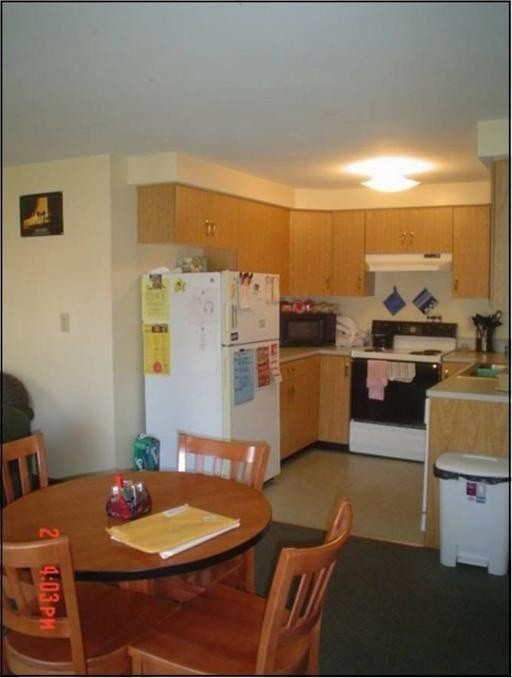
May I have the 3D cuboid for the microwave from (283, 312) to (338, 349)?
[{"bbox_3d":[0.466,-0.077,4.987,0.484,0.346,0.302,-2,4,-25],"label":"microwave"}]

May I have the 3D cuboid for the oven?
[{"bbox_3d":[1.173,0.427,4.767,0.781,0.638,0.534,0,-8,41],"label":"oven"}]

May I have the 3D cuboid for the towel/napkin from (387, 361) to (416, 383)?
[{"bbox_3d":[1.184,0.280,4.414,0.222,0.165,0.024,1,3,23],"label":"towel/napkin"}]

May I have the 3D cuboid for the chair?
[{"bbox_3d":[-0.168,0.536,1.330,0.537,0.454,0.693,2,2,32],"label":"chair"}]

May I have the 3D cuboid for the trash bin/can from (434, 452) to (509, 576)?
[{"bbox_3d":[1.023,0.851,2.611,0.327,0.542,0.361,1,3,24],"label":"trash bin/can"}]

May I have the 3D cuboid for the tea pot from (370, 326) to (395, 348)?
[{"bbox_3d":[1.182,0.005,5.013,0.196,0.301,0.191,1,-3,0],"label":"tea pot"}]

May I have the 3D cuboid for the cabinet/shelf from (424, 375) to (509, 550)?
[{"bbox_3d":[1.048,0.648,2.703,0.283,0.575,0.936,1,5,13],"label":"cabinet/shelf"}]

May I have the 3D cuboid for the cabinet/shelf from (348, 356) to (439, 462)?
[{"bbox_3d":[1.166,0.535,4.852,0.752,1.109,0.738,2,2,37],"label":"cabinet/shelf"}]

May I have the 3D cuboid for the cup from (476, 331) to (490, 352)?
[{"bbox_3d":[1.999,0.033,4.796,0.126,0.259,0.132,-2,5,0],"label":"cup"}]
